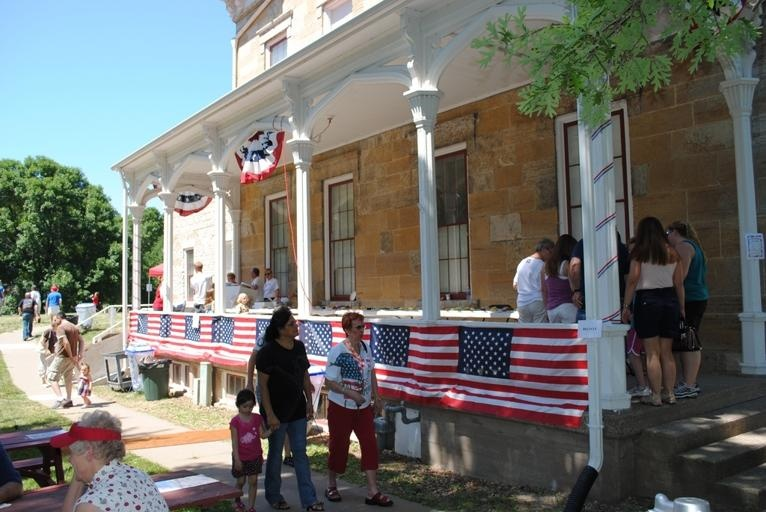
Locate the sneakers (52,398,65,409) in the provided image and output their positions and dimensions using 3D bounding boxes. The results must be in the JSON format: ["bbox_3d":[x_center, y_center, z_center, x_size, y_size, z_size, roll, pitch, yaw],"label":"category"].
[{"bbox_3d":[-7.006,3.186,14.409,0.321,0.185,0.176,-6,-10,31],"label":"sneakers"}]

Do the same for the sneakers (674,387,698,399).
[{"bbox_3d":[4.091,1.840,9.075,0.392,0.182,0.144,1,-6,10],"label":"sneakers"}]

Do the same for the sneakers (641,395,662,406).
[{"bbox_3d":[3.510,1.869,8.753,0.130,0.108,0.245,-1,2,-38],"label":"sneakers"}]

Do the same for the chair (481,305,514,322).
[{"bbox_3d":[2.157,1.057,12.347,0.594,0.364,1.050,-2,-8,9],"label":"chair"}]

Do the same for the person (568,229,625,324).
[{"bbox_3d":[3.045,0.295,9.391,0.835,1.231,0.290,5,3,43],"label":"person"}]

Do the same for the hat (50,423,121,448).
[{"bbox_3d":[-2.690,1.624,6.077,0.490,0.158,0.298,2,-10,-2],"label":"hat"}]

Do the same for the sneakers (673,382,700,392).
[{"bbox_3d":[4.101,1.805,9.127,0.381,0.178,0.141,1,-5,9],"label":"sneakers"}]

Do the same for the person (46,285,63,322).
[{"bbox_3d":[-13.022,2.005,26.482,0.574,1.662,0.493,0,12,-30],"label":"person"}]

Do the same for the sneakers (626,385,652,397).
[{"bbox_3d":[3.527,1.850,9.182,0.409,0.192,0.164,-2,-3,23],"label":"sneakers"}]

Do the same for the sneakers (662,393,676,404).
[{"bbox_3d":[3.771,1.884,8.806,0.152,0.148,0.091,-4,-9,18],"label":"sneakers"}]

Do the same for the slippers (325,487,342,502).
[{"bbox_3d":[-0.667,3.203,8.981,0.110,0.110,0.254,2,-11,-19],"label":"slippers"}]

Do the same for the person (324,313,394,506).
[{"bbox_3d":[-0.380,2.026,8.884,0.751,2.513,0.497,0,-8,-5],"label":"person"}]

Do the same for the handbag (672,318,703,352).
[{"bbox_3d":[4.163,1.125,9.215,0.232,0.467,0.533,-11,-19,-1],"label":"handbag"}]

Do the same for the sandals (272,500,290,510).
[{"bbox_3d":[-1.322,3.252,8.719,0.120,0.078,0.211,7,-11,-43],"label":"sandals"}]

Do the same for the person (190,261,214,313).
[{"bbox_3d":[-4.821,1.069,18.044,0.600,1.902,0.576,-5,22,-13],"label":"person"}]

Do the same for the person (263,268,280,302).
[{"bbox_3d":[-3.155,0.862,19.022,0.464,0.962,1.117,0,-8,-9],"label":"person"}]

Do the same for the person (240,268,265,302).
[{"bbox_3d":[-3.836,0.822,19.523,0.584,1.069,0.595,-5,32,-8],"label":"person"}]

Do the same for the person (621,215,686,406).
[{"bbox_3d":[3.605,0.721,8.892,0.802,2.470,0.392,-3,-8,12],"label":"person"}]

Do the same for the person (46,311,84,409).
[{"bbox_3d":[-6.946,2.248,14.678,0.649,2.055,0.761,-9,-11,37],"label":"person"}]

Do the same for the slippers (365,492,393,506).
[{"bbox_3d":[-0.048,3.189,8.781,0.337,0.149,0.158,-2,-4,11],"label":"slippers"}]
